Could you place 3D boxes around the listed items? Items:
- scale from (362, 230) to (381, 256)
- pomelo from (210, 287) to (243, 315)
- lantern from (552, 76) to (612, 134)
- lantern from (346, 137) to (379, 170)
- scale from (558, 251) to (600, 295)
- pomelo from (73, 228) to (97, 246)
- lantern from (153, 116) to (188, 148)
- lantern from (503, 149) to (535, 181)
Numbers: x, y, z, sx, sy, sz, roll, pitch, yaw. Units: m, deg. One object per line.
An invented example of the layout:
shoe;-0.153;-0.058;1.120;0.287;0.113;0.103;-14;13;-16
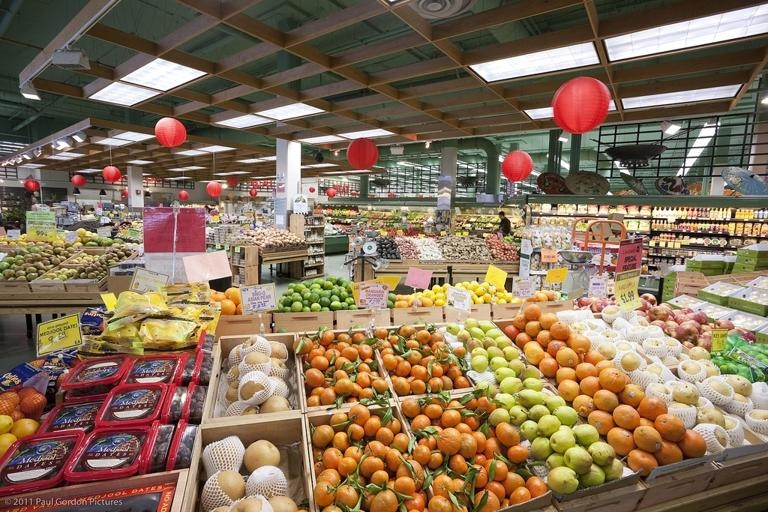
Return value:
scale;-0.237;-0.229;7.188;0.410;0.437;0.136;-4;5;5
pomelo;-1.429;0.434;3.784;0.313;0.109;0.269;14;2;-1
lantern;2.067;-1.621;4.318;0.528;0.567;0.284;3;7;15
lantern;-0.364;-1.759;6.902;0.450;0.514;0.709;1;6;-1
scale;2.174;0.218;4.619;0.377;0.553;1.081;4;7;26
pomelo;-4.978;-0.316;6.847;0.338;0.142;0.409;3;3;-25
lantern;-3.345;-1.986;6.433;0.337;0.461;0.460;-1;7;-15
lantern;2.364;-1.635;7.394;0.701;0.601;0.614;-2;17;10
